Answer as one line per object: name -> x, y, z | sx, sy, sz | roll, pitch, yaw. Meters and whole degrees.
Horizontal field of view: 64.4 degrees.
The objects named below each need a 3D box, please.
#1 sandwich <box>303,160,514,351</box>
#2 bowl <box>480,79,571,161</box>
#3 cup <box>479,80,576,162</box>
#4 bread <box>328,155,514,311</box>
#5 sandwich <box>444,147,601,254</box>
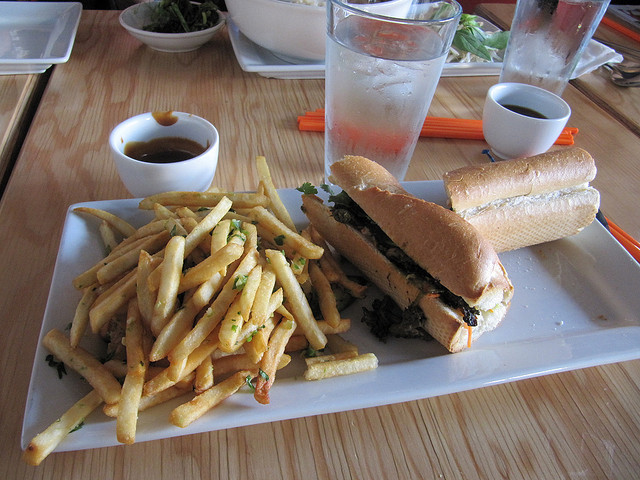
sandwich -> 0.233, -0.011, 1.772 | 0.371, 0.339, 0.856 | -24, 53, -27
bowl -> 0.870, -0.496, 2.153 | 0.317, 0.227, 0.328 | 3, 43, -2
cup -> 0.876, -0.495, 2.157 | 0.333, 0.255, 0.329 | 1, 39, -1
bread -> 0.329, -0.016, 1.662 | 0.267, 0.206, 0.807 | -26, 55, -22
sandwich -> 0.745, -0.133, 1.919 | 0.537, 0.337, 0.308 | -11, 26, -4
